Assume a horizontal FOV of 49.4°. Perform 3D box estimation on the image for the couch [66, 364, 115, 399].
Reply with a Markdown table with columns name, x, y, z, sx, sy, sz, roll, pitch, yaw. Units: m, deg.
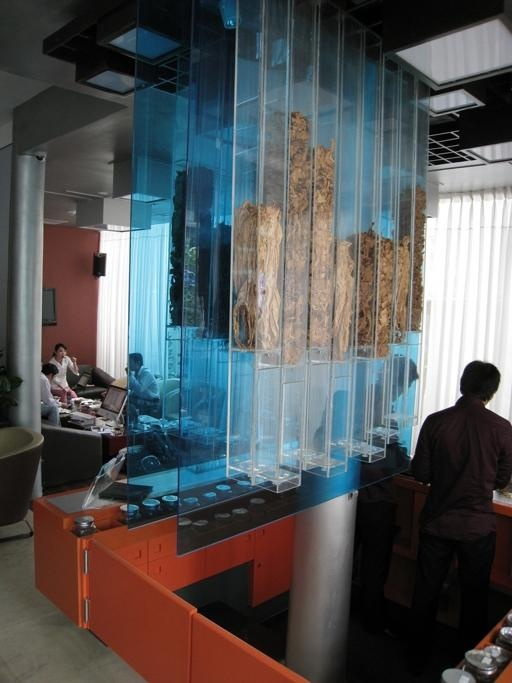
| name | x | y | z | sx | sy | sz | roll | pitch | yaw |
| --- | --- | --- | --- | --- | --- | --- | --- | --- | --- |
| couch | -2.516 | 0.653 | 8.491 | 0.597 | 0.599 | 0.633 | 15 | 14 | 34 |

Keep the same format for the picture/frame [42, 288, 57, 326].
| name | x | y | z | sx | sy | sz | roll | pitch | yaw |
| --- | --- | --- | --- | --- | --- | --- | --- | --- | --- |
| picture/frame | -3.215 | -0.522 | 8.750 | 0.148 | 0.614 | 0.458 | 4 | 5 | 12 |

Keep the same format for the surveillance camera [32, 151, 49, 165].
| name | x | y | z | sx | sy | sz | roll | pitch | yaw |
| --- | --- | --- | --- | --- | --- | --- | --- | --- | --- |
| surveillance camera | -1.503 | -1.264 | 3.868 | 0.106 | 0.071 | 0.146 | 20 | 10 | -7 |

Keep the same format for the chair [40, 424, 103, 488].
| name | x | y | z | sx | sy | sz | roll | pitch | yaw |
| --- | --- | --- | --- | --- | --- | --- | --- | --- | --- |
| chair | -1.624 | 0.947 | 4.881 | 0.543 | 0.573 | 0.515 | -1 | 5 | -45 |

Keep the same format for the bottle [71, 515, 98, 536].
| name | x | y | z | sx | sy | sz | roll | pitch | yaw |
| --- | --- | --- | --- | --- | --- | --- | --- | --- | --- |
| bottle | -0.664 | 0.717 | 2.171 | 0.063 | 0.061 | 0.064 | 5 | 3 | -19 |

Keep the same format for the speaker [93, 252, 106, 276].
| name | x | y | z | sx | sy | sz | roll | pitch | yaw |
| --- | --- | --- | --- | --- | --- | --- | --- | --- | --- |
| speaker | -2.539 | -1.247 | 9.063 | 0.123 | 0.629 | 0.353 | 4 | -3 | -18 |
